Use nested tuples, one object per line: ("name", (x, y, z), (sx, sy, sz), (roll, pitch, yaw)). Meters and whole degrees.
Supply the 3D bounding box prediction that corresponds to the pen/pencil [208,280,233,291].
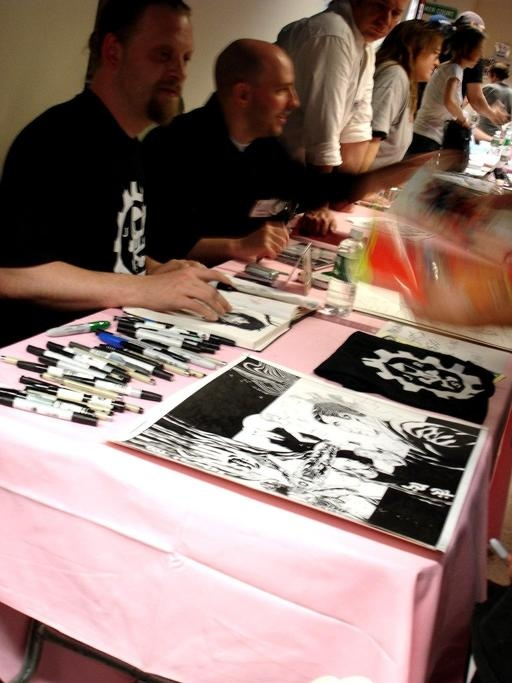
("pen/pencil", (-0.072, -0.120, 1.194), (0.020, 0.026, 0.065), (-36, -19, 27))
